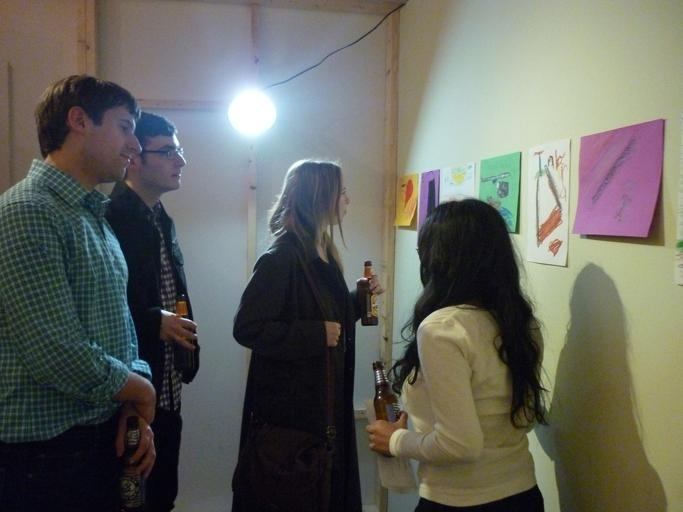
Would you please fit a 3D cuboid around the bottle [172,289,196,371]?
[{"bbox_3d":[-0.651,0.308,2.321,0.088,0.331,0.347,-1,6,-16],"label":"bottle"}]
